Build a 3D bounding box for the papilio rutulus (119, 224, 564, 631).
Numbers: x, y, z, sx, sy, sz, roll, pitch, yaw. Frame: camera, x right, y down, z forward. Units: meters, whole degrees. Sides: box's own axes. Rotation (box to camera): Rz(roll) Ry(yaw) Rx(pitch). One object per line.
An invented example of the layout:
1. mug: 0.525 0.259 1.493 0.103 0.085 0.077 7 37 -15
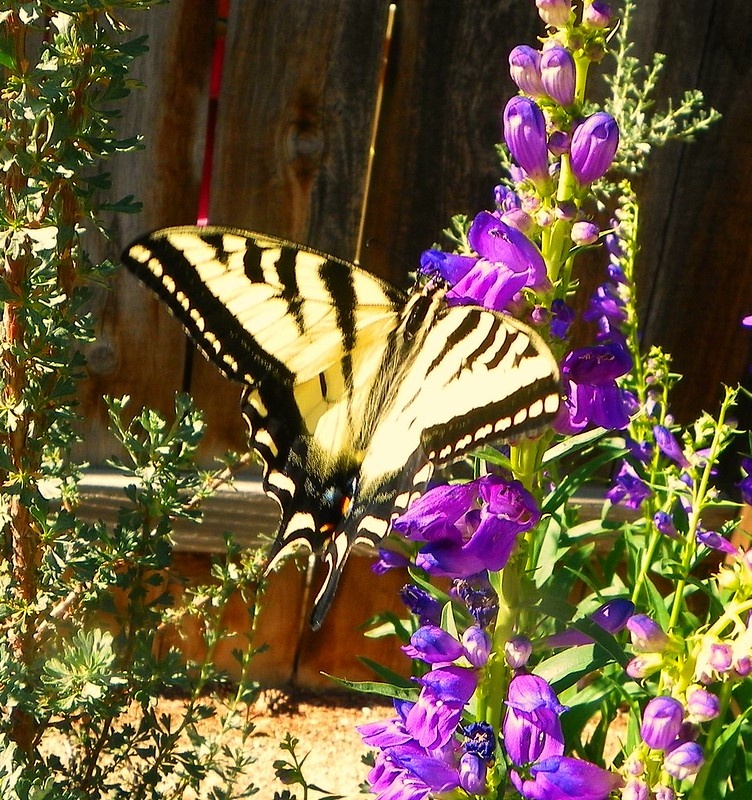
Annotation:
1. papilio rutulus: -0.008 -0.002 2.911 1.011 0.779 0.507 24 1 18
